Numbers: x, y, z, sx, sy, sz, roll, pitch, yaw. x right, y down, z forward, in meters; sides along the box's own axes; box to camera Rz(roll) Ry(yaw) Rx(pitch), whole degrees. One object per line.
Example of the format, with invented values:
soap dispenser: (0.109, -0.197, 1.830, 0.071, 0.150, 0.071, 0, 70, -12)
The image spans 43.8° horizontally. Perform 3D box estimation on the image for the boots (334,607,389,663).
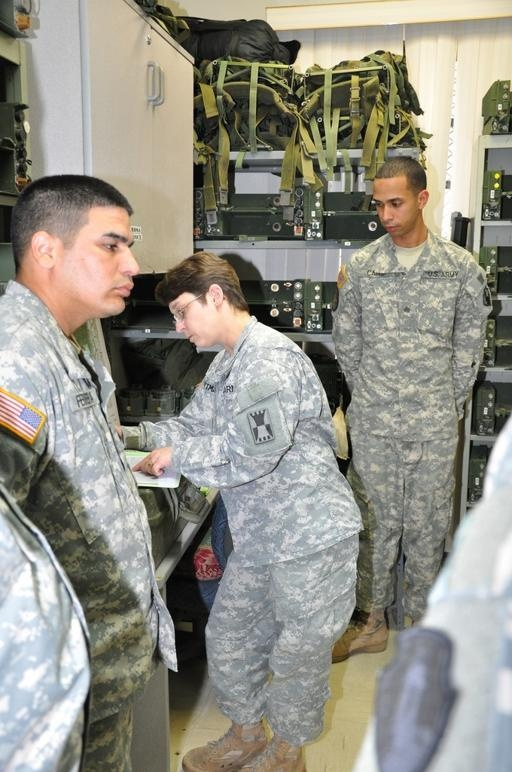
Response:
boots: (0.431, 1.087, 2.796, 0.286, 0.195, 0.097, -3, 13, -23)

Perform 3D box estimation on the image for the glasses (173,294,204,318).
glasses: (-0.194, -0.225, 1.818, 0.064, 0.019, 0.061, -40, 8, -18)
